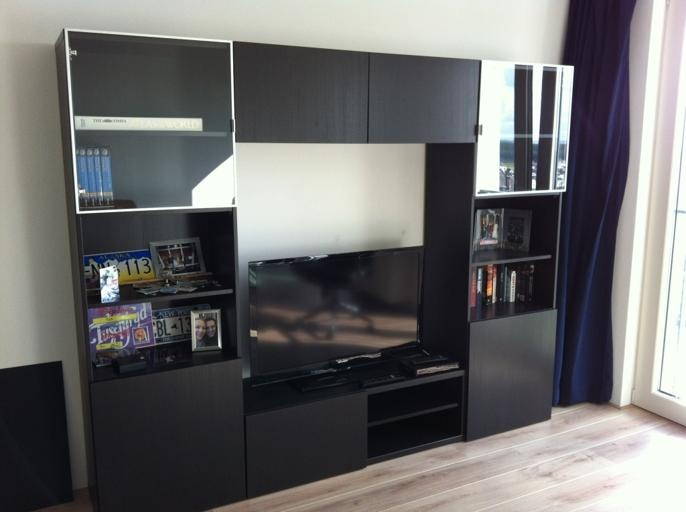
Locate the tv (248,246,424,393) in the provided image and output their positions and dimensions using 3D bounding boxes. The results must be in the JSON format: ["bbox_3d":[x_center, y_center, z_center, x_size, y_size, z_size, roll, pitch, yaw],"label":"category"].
[{"bbox_3d":[-0.084,0.386,3.331,0.909,0.559,0.019,-6,10,-27],"label":"tv"}]
